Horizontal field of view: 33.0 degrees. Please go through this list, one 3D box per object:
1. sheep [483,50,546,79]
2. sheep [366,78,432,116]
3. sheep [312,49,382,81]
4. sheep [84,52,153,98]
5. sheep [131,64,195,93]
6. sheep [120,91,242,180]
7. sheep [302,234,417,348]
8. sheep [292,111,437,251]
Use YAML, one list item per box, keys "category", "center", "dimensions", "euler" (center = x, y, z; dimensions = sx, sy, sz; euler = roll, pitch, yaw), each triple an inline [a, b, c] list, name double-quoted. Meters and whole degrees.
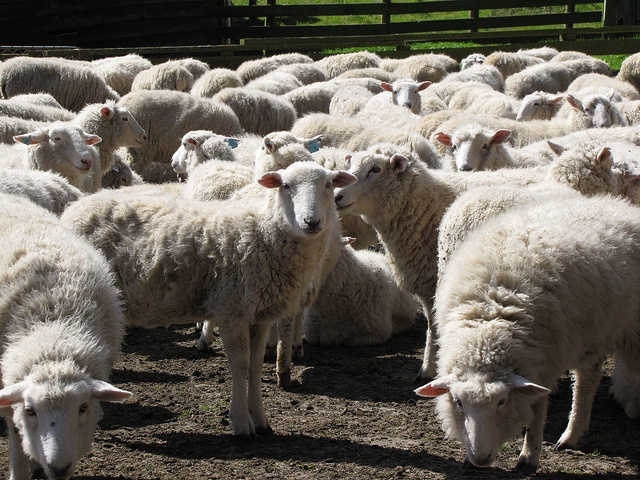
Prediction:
- category: "sheep"
  center: [3.633, -3.489, 20.753]
  dimensions: [1.231, 0.615, 0.503]
  euler: [-8, 40, -23]
- category: "sheep"
  center: [1.173, -2.203, 16.268]
  dimensions: [0.555, 0.501, 1.032]
  euler: [-5, 20, -6]
- category: "sheep"
  center: [0.550, -3.383, 20.347]
  dimensions: [1.185, 0.561, 0.616]
  euler: [-15, 40, -15]
- category: "sheep"
  center: [-3.655, -3.119, 19.745]
  dimensions: [0.698, 0.693, 1.329]
  euler: [-1, 11, -24]
- category: "sheep"
  center: [-2.643, -2.693, 18.111]
  dimensions: [1.132, 0.554, 0.577]
  euler: [-2, 14, 20]
- category: "sheep"
  center: [-2.071, -1.650, 15.695]
  dimensions: [2.110, 1.247, 0.885]
  euler: [0, 6, -2]
- category: "sheep"
  center: [0.435, 0.682, 12.298]
  dimensions: [1.418, 0.875, 0.926]
  euler: [2, -7, -43]
- category: "sheep"
  center: [0.856, -0.962, 14.252]
  dimensions: [2.450, 1.474, 1.193]
  euler: [18, 10, 42]
